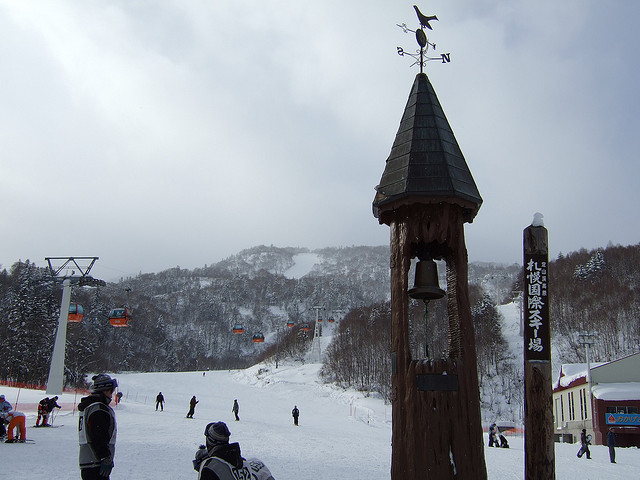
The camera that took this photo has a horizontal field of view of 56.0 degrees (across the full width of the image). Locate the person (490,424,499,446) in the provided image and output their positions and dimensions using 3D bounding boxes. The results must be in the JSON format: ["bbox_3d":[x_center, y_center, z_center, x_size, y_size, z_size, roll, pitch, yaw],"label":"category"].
[{"bbox_3d":[10.497,11.665,36.371,0.439,1.166,1.089,-2,-15,15],"label":"person"}]

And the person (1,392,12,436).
[{"bbox_3d":[-11.622,6.417,22.183,0.435,1.344,1.618,8,-16,-26],"label":"person"}]

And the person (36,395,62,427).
[{"bbox_3d":[-12.194,7.677,27.078,0.732,1.424,0.762,24,-11,-9],"label":"person"}]

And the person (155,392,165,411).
[{"bbox_3d":[-11.127,11.097,41.588,0.463,1.165,2.569,5,-16,-14],"label":"person"}]

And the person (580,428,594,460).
[{"bbox_3d":[13.297,10.064,29.933,0.430,1.366,1.597,-4,-16,23],"label":"person"}]
